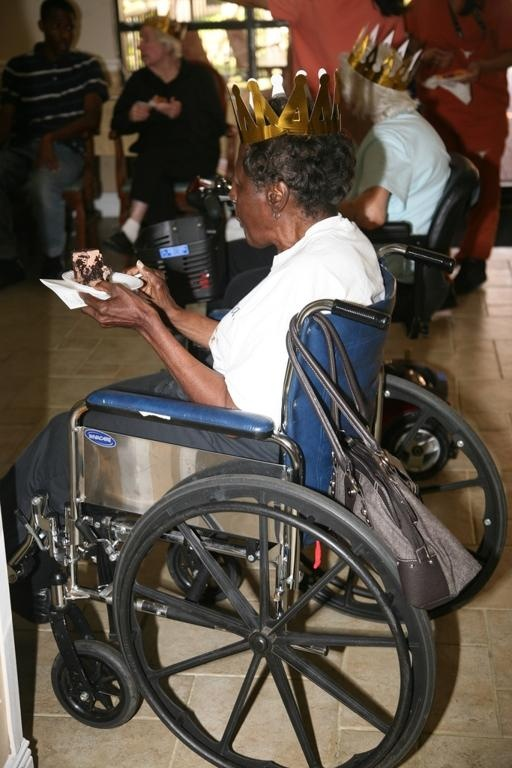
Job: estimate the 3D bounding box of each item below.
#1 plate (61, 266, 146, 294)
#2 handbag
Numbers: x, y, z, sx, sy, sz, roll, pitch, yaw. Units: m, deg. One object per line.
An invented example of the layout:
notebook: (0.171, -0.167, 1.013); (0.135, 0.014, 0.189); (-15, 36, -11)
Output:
plate: (-0.339, -0.230, 1.436); (0.095, 0.022, 0.123); (19, 15, 10)
handbag: (0.225, 0.089, 1.072); (0.241, 0.459, 0.347); (-17, 27, -36)
